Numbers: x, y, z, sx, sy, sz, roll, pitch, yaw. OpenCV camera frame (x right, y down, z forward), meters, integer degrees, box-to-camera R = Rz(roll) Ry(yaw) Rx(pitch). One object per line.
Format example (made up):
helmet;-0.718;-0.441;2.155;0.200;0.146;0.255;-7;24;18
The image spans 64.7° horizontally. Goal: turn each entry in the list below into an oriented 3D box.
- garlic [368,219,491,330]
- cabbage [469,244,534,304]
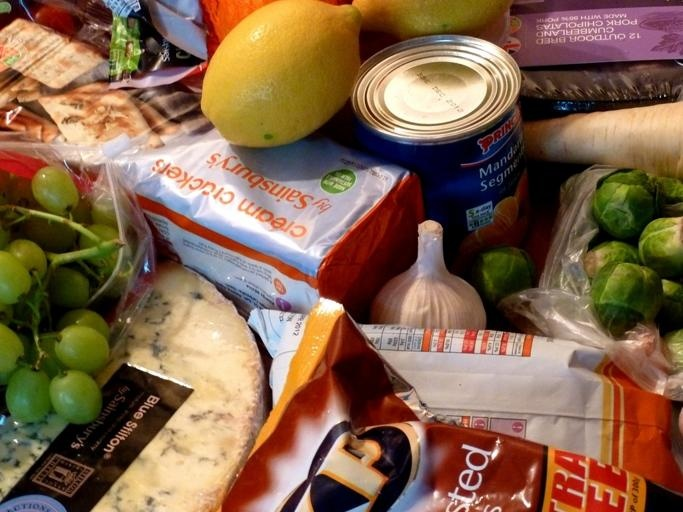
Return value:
garlic;0.102;0.041;0.674;0.106;0.154;0.104;-16;33;-32
cabbage;0.204;0.023;0.682;0.060;0.078;0.059;14;27;22
